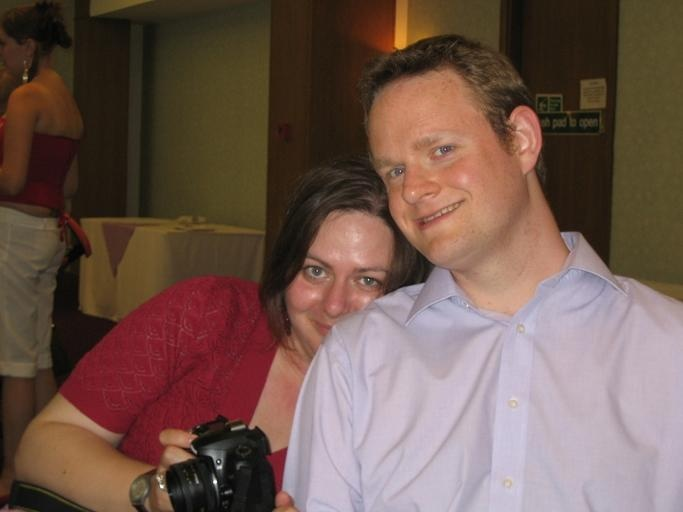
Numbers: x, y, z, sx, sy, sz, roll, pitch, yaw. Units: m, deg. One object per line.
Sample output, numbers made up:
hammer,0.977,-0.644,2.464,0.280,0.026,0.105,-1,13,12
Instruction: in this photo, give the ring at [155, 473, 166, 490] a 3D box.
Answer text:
ring,-0.498,0.625,1.917,0.030,0.044,0.014,-26,-32,12
